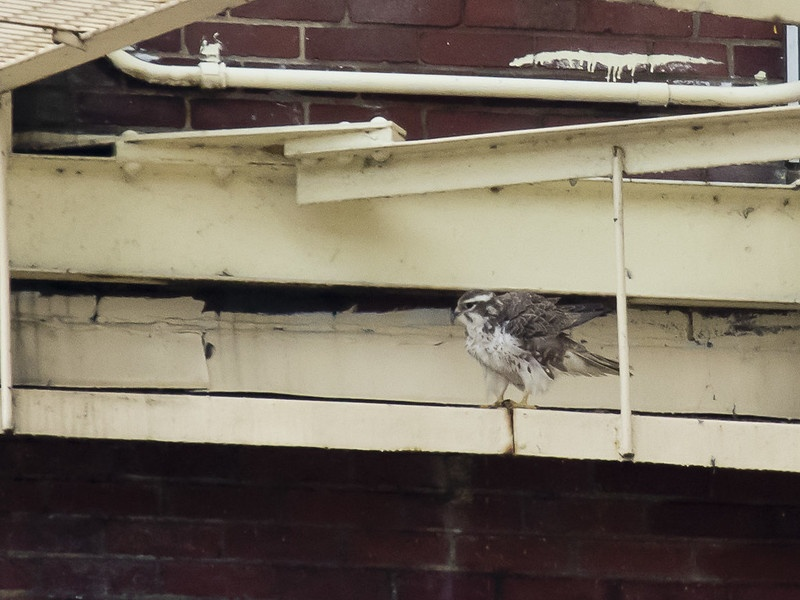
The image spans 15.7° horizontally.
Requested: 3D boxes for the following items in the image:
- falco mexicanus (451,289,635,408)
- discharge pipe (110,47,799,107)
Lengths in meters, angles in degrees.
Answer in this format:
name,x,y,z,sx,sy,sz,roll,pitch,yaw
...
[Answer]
name,x,y,z,sx,sy,sz,roll,pitch,yaw
falco mexicanus,0.406,0.125,8.577,0.546,0.352,0.257,-5,0,-31
discharge pipe,0.076,-0.674,8.726,1.824,0.081,0.191,3,-77,-4
